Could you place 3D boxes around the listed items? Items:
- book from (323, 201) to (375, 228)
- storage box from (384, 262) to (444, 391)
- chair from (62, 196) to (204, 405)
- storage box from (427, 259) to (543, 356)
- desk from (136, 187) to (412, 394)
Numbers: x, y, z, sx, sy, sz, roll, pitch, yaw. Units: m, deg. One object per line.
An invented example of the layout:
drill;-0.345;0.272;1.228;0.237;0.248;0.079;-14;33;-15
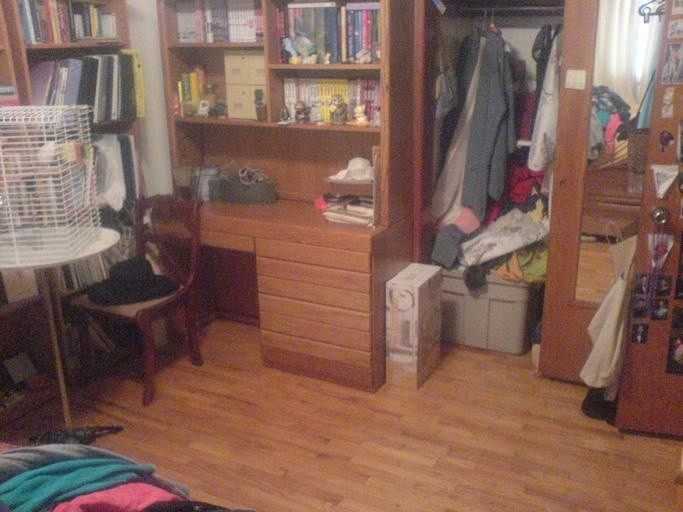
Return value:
book;0.040;-0.252;3.363;0.352;0.118;0.129;12;23;28
storage box;0.409;0.423;3.376;0.247;0.737;0.516;8;21;26
chair;-1.196;0.239;3.405;0.758;1.056;0.684;-9;20;-36
storage box;0.941;0.334;3.846;0.622;0.429;0.467;4;9;21
desk;-0.368;0.187;3.803;1.355;0.960;0.728;6;18;15
